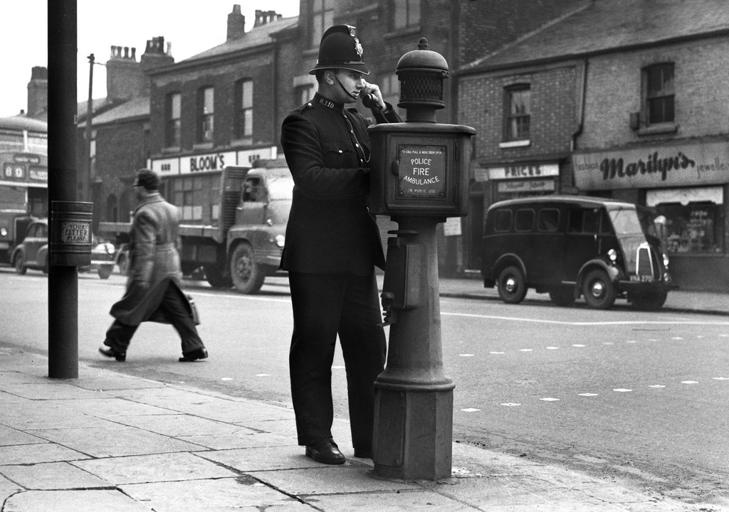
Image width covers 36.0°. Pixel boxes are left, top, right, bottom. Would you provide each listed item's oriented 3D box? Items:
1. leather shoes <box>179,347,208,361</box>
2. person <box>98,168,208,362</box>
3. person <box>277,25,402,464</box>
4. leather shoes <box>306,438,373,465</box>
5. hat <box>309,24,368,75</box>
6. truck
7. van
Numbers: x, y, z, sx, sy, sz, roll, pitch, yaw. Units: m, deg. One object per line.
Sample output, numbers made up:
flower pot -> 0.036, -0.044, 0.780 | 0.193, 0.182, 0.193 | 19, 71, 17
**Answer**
leather shoes -> -2.150, 1.267, 14.479 | 0.427, 0.205, 0.150 | -1, 4, 12
person -> -2.631, 0.125, 14.206 | 1.069, 2.459, 0.910 | 2, 2, 18
person -> -0.258, -0.117, 9.487 | 0.932, 3.691, 0.540 | 2, 2, -1
leather shoes -> -0.208, 1.640, 9.482 | 0.542, 0.187, 0.227 | 1, 2, -18
hat -> -0.195, -1.758, 9.615 | 0.547, 0.404, 0.479 | 4, 12, 31
truck -> -2.881, -0.719, 27.751 | 2.733, 3.115, 7.028 | 1, -4, -43
van -> 4.358, -0.087, 23.478 | 1.445, 2.275, 3.934 | 0, 2, -39
